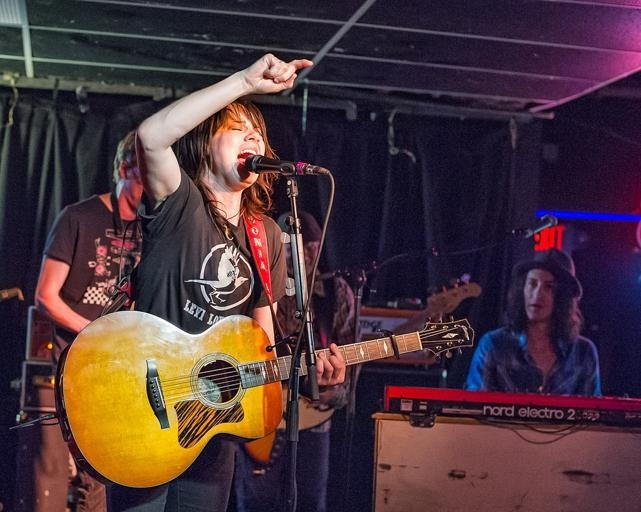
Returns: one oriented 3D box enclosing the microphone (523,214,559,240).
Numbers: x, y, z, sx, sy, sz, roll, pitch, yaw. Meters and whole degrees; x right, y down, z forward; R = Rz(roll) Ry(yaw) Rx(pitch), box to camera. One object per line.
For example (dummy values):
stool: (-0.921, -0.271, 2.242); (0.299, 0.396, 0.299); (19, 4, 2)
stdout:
microphone: (1.626, -0.216, 6.073); (0.278, 0.182, 0.025); (2, -6, -10)
